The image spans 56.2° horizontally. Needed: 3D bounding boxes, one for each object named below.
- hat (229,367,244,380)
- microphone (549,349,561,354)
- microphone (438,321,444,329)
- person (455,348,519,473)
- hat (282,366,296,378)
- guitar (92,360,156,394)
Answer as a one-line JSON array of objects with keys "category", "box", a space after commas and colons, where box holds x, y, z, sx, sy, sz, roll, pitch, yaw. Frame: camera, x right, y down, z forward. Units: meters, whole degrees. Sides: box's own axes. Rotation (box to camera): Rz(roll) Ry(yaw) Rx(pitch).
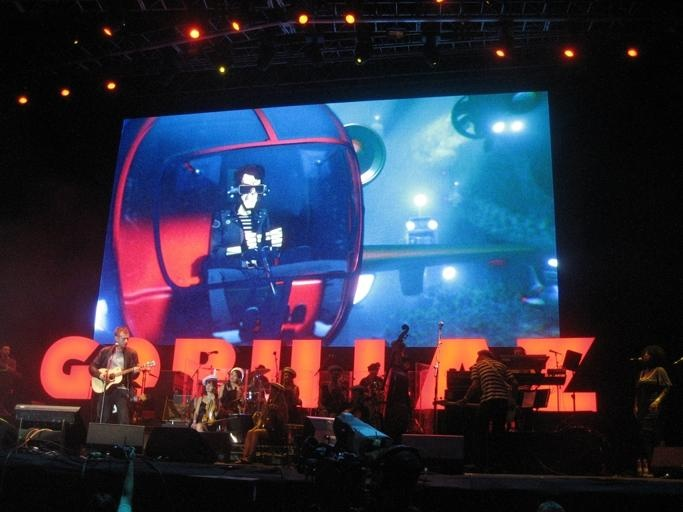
[{"category": "hat", "box": [-1.858, 2.124, 11.533, 0.195, 0.232, 0.230, 6, 20, 15]}, {"category": "microphone", "box": [3.694, 1.651, 11.094, 0.209, 0.079, 0.065, 12, -7, 2]}, {"category": "microphone", "box": [1.777, 1.220, 11.357, 0.127, 0.166, 0.112, 4, -9, -32]}, {"category": "person", "box": [2.160, 2.300, 9.330, 0.672, 1.566, 0.323, 2, -11, 14]}, {"category": "hat", "box": [-0.895, 2.019, 11.130, 0.206, 0.075, 0.201, 25, -55, -19]}, {"category": "guitar", "box": [-3.687, 2.015, 10.691, 1.098, 0.413, 0.146, -15, -9, -23]}]
